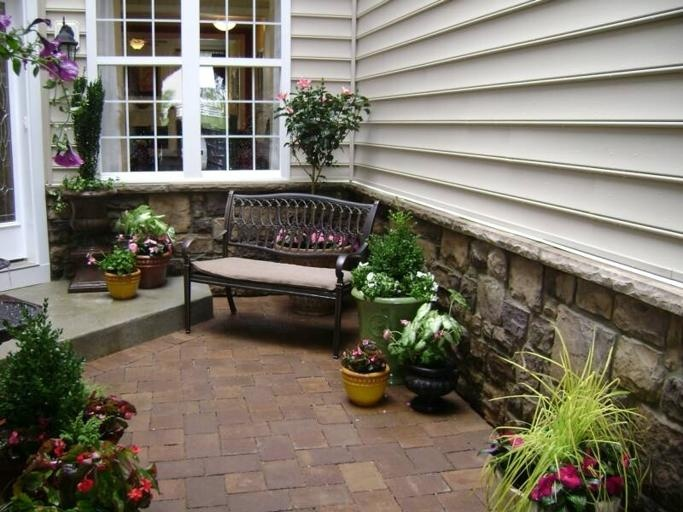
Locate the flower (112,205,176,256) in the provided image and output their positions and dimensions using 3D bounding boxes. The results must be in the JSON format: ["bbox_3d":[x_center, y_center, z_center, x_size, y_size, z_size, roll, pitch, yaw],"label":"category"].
[{"bbox_3d":[-2.066,-0.269,4.865,0.542,0.459,0.500,7,-8,-2],"label":"flower"}]

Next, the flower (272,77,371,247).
[{"bbox_3d":[-0.258,-1.180,5.233,0.806,0.883,0.939,8,6,18],"label":"flower"}]

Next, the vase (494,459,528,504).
[{"bbox_3d":[0.723,0.967,2.042,0.094,0.069,0.102,-7,22,-12],"label":"vase"}]

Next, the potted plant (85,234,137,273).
[{"bbox_3d":[-2.206,-0.015,4.582,0.462,0.249,0.482,-9,32,-34],"label":"potted plant"}]

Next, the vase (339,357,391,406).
[{"bbox_3d":[0.162,0.887,3.344,0.321,0.207,0.307,0,7,-6],"label":"vase"}]

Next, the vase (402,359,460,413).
[{"bbox_3d":[0.623,0.915,3.353,0.374,0.291,0.381,2,-2,-5],"label":"vase"}]

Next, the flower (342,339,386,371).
[{"bbox_3d":[0.150,0.715,3.385,0.219,0.129,0.243,1,1,-3],"label":"flower"}]

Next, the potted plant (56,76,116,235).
[{"bbox_3d":[-2.622,-0.979,4.851,0.496,1.613,0.591,-6,16,-29],"label":"potted plant"}]

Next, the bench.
[{"bbox_3d":[-0.611,0.094,4.652,1.776,1.270,0.825,5,16,25],"label":"bench"}]

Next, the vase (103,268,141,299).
[{"bbox_3d":[-2.054,0.260,4.510,0.299,0.203,0.283,6,11,20],"label":"vase"}]

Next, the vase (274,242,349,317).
[{"bbox_3d":[-0.326,0.308,5.044,0.682,0.658,0.628,2,4,10],"label":"vase"}]
